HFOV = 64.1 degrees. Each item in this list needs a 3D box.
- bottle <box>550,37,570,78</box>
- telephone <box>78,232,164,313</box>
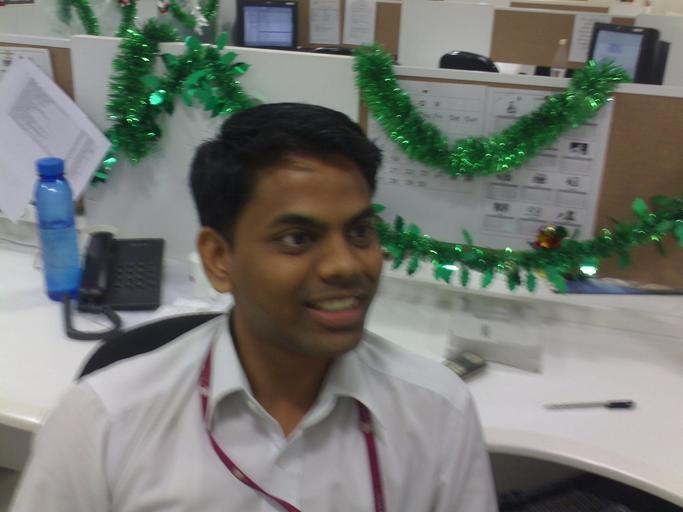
[{"bbox_3d":[1.213,-1.097,3.009,0.086,0.199,0.115,8,17,18],"label":"bottle"},{"bbox_3d":[-0.549,0.024,1.397,0.219,0.061,0.217,0,59,-6],"label":"telephone"}]
